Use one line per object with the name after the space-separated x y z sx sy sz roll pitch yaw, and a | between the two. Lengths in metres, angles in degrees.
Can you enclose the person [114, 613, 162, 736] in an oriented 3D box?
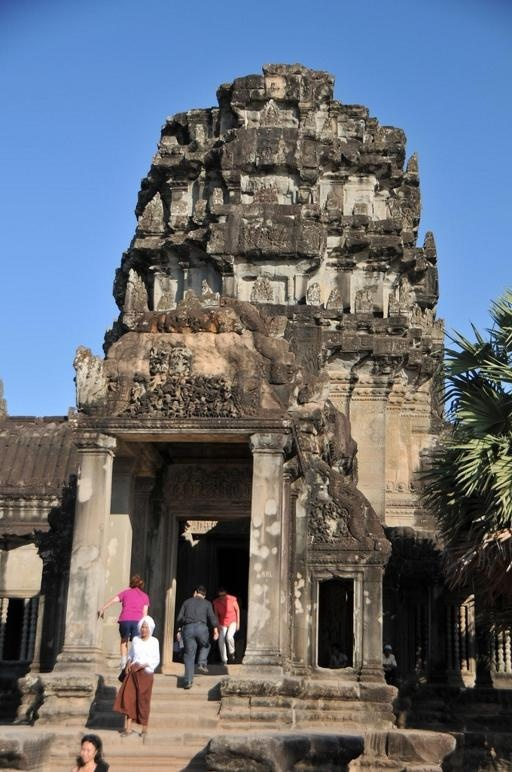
-1.199 2.942 11.045 0.402 1.198 0.767 3 -17 -6 | person
